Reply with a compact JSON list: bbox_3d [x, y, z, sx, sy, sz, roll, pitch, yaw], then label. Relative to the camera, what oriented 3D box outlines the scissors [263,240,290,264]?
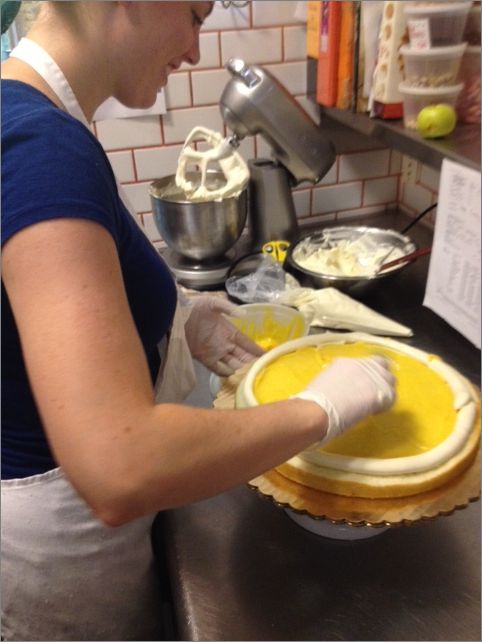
[{"bbox_3d":[0.090,-0.187,1.342,0.064,0.016,0.069,5,56,-7],"label":"scissors"}]

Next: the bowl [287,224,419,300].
[{"bbox_3d":[0.279,-0.167,1.292,0.236,0.085,0.227,0,29,0],"label":"bowl"}]

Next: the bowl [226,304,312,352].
[{"bbox_3d":[0.079,0.009,1.106,0.122,0.053,0.118,4,26,-2],"label":"bowl"}]

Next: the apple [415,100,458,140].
[{"bbox_3d":[0.365,-0.375,0.955,0.072,0.071,0.066,-9,55,9],"label":"apple"}]

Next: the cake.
[{"bbox_3d":[0.191,0.121,0.588,0.198,0.060,0.203,16,33,32],"label":"cake"}]

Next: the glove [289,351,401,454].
[{"bbox_3d":[0.117,0.088,0.567,0.067,0.035,0.126,29,32,32],"label":"glove"}]
